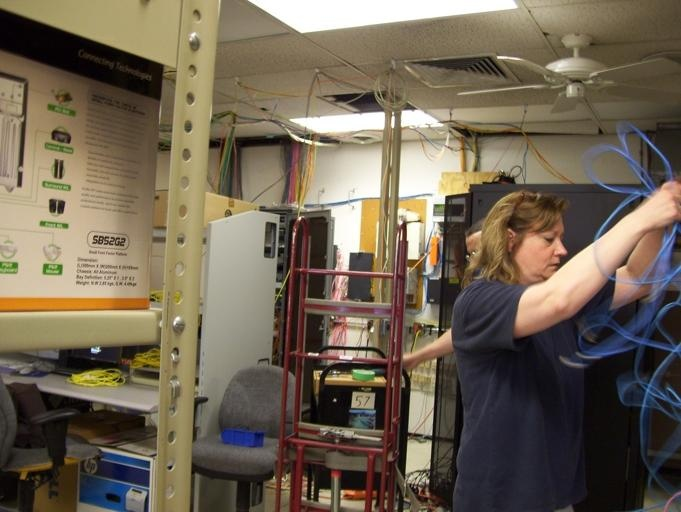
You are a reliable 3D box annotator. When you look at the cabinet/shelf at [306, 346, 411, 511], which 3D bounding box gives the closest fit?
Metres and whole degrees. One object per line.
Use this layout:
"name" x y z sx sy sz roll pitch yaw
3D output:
"cabinet/shelf" 0.112 1.004 3.424 0.586 1.050 1.361 1 -2 -3
